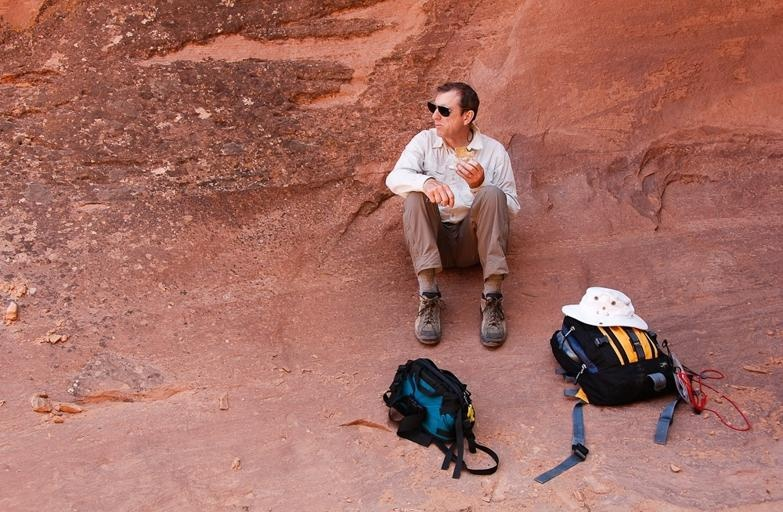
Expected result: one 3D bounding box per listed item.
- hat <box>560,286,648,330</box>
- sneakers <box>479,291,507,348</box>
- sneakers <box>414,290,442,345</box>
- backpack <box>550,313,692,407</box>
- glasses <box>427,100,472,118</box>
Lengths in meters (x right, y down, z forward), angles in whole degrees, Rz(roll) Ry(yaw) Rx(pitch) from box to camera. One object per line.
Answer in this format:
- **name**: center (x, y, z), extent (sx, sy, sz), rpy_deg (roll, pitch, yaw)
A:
- **hat**: center (1.289, 0.290, 4.350), extent (0.502, 0.519, 0.152), rpy_deg (5, 103, -3)
- **sneakers**: center (0.626, 0.409, 4.482), extent (0.156, 0.168, 0.359), rpy_deg (-2, 60, 5)
- **sneakers**: center (0.227, 0.393, 4.498), extent (0.166, 0.155, 0.347), rpy_deg (-1, 54, 2)
- **backpack**: center (1.283, 0.584, 4.184), extent (0.616, 0.209, 0.567), rpy_deg (-16, 65, 5)
- **glasses**: center (0.345, -0.922, 4.573), extent (0.135, 0.180, 0.050), rpy_deg (8, 94, 46)
